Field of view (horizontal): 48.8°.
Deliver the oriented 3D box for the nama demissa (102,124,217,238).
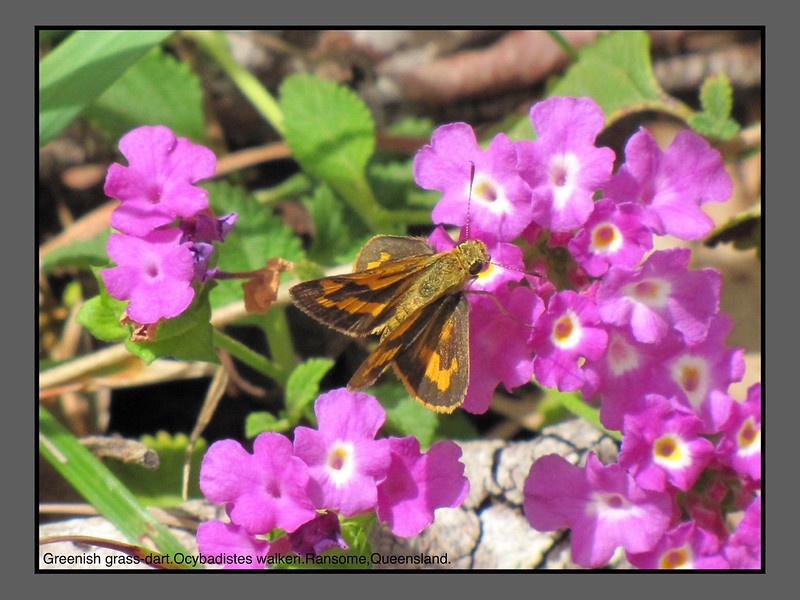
[{"bbox_3d":[-0.556,-0.273,2.029,0.246,0.241,0.134,-3,14,-11],"label":"nama demissa"}]
